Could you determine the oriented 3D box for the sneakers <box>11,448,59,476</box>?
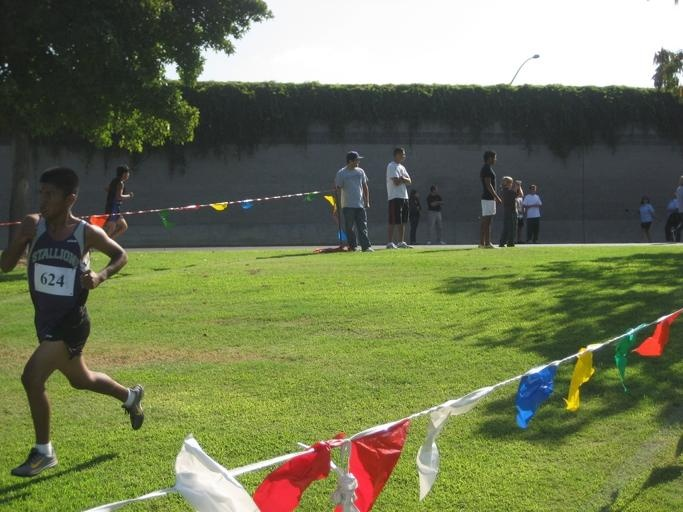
[{"bbox_3d":[-1.934,1.284,4.911,0.111,0.166,0.299,-5,-1,45],"label":"sneakers"}]

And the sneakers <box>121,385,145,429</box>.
[{"bbox_3d":[-1.425,1.037,5.383,0.108,0.357,0.153,-5,3,29],"label":"sneakers"}]

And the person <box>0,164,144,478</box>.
[{"bbox_3d":[-1.925,0.346,5.269,0.928,1.859,0.796,-9,12,-40],"label":"person"}]
